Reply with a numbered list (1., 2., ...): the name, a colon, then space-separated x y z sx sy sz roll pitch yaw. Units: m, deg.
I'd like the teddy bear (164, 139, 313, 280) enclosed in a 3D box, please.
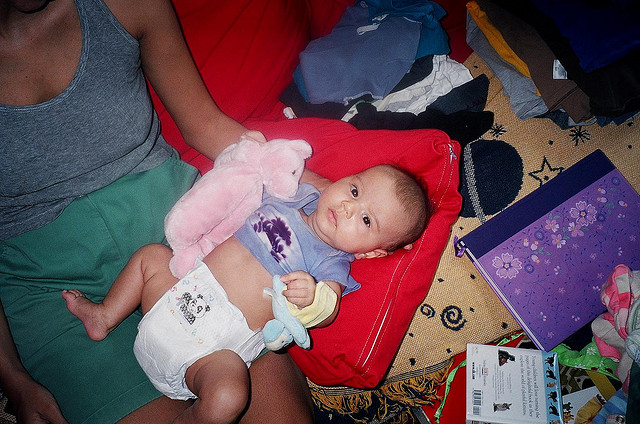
1. teddy bear: -0.371 -0.051 2.014 0.682 0.224 0.414 -42 95 -7
